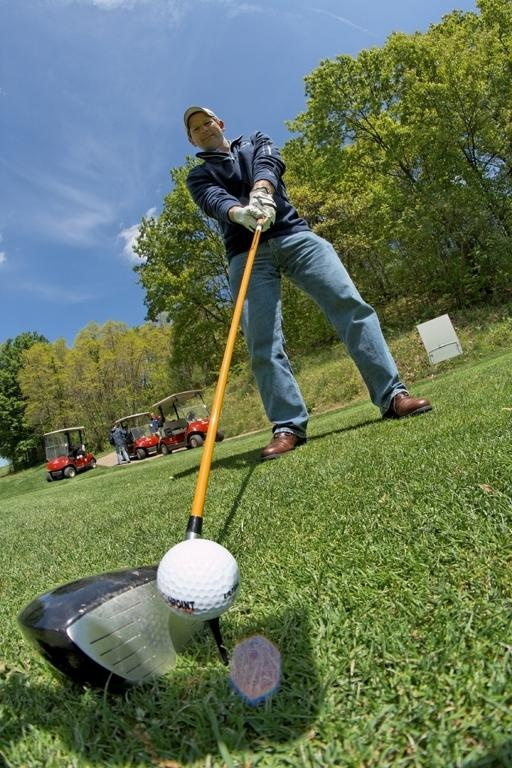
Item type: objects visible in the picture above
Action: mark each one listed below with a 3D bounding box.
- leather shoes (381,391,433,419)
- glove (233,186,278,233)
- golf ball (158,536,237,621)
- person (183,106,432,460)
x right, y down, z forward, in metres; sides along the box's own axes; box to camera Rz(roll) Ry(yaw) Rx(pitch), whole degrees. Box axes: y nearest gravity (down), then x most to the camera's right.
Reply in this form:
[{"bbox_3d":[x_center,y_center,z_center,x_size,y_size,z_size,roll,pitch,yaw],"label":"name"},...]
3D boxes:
[{"bbox_3d":[0.989,0.131,3.394,0.106,0.118,0.284,-7,-8,-26],"label":"leather shoes"},{"bbox_3d":[0.011,-1.098,3.352,0.256,0.359,0.126,3,1,9],"label":"glove"},{"bbox_3d":[-0.116,0.380,1.097,0.141,0.152,0.142,-3,5,0],"label":"golf ball"},{"bbox_3d":[0.180,-0.951,3.739,1.056,2.797,0.915,-20,-16,8],"label":"person"}]
